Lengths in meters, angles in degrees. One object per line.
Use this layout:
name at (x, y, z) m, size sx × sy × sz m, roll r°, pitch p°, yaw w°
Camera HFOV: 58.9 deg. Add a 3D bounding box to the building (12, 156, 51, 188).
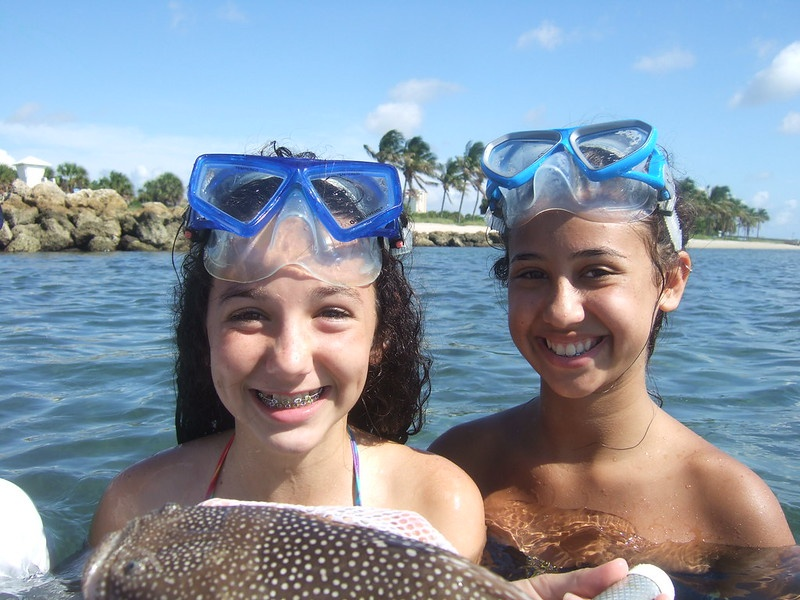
building at (-24.943, -8.651, 47.642) m, size 1.449 × 1.669 × 2.800 m, roll 0°, pitch 11°, yaw -10°
